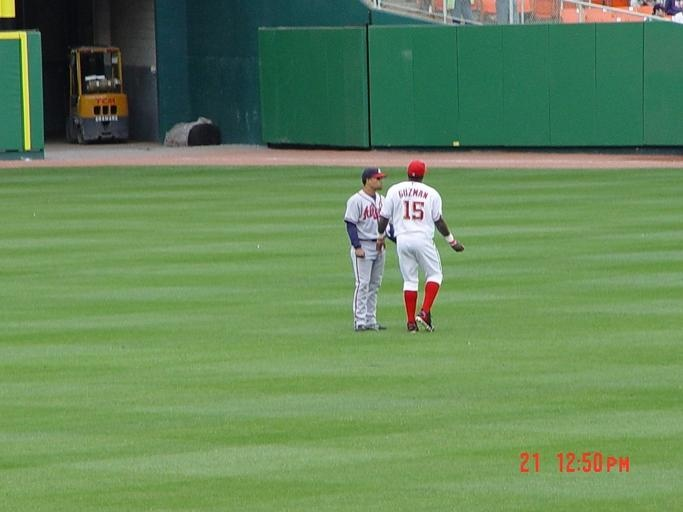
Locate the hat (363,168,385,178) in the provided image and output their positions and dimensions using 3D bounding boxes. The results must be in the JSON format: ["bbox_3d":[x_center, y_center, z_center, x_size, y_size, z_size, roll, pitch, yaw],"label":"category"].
[{"bbox_3d":[0.464,-1.167,23.618,0.237,0.125,0.175,1,10,2],"label":"hat"}]

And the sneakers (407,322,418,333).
[{"bbox_3d":[1.046,1.049,23.645,0.144,0.150,0.112,0,7,6],"label":"sneakers"}]

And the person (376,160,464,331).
[{"bbox_3d":[1.117,-0.142,23.835,1.097,2.465,0.839,-1,6,4],"label":"person"}]

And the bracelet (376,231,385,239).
[{"bbox_3d":[0.579,-0.288,23.555,0.126,0.079,0.099,-2,18,-1],"label":"bracelet"}]
